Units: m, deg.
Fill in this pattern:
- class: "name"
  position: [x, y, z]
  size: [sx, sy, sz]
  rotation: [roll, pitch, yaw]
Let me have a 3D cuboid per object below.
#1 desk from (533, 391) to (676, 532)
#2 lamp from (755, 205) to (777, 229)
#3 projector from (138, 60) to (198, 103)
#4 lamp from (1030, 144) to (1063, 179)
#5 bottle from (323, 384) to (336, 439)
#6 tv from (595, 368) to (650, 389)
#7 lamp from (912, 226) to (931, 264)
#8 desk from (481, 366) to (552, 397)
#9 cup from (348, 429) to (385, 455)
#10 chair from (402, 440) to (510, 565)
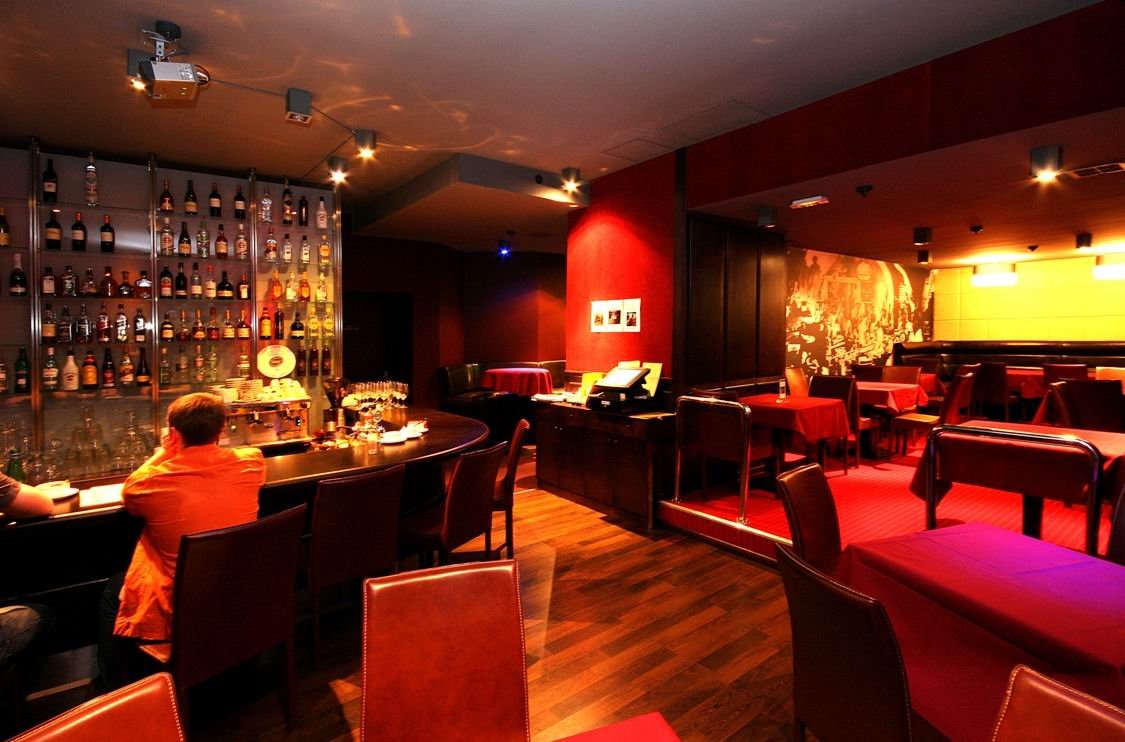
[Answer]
- class: "desk"
  position: [0.418, 0.888, 7.688]
  size: [0.584, 1.033, 1.678]
  rotation: [0, 5, -40]
- class: "lamp"
  position: [2.016, -1.509, 7.373]
  size: [0.176, 0.161, 0.168]
  rotation: [4, 11, 17]
- class: "projector"
  position: [-2.778, -2.049, 5.339]
  size: [0.479, 0.310, 0.266]
  rotation: [0, 8, -1]
- class: "lamp"
  position: [3.750, -1.636, 5.807]
  size: [0.114, 0.204, 0.151]
  rotation: [-1, -11, 10]
- class: "bottle"
  position: [-1.916, 0.319, 6.241]
  size: [0.115, 0.424, 0.285]
  rotation: [-2, 4, -16]
- class: "tv"
  position: [0.556, 0.087, 7.319]
  size: [0.462, 0.196, 0.380]
  rotation: [1, 4, 29]
- class: "lamp"
  position: [4.450, -1.569, 9.278]
  size: [0.157, 0.276, 0.153]
  rotation: [0, -10, 18]
- class: "desk"
  position: [-0.598, 0.167, 10.236]
  size: [0.830, 0.345, 0.610]
  rotation: [-2, 4, -18]
- class: "cup"
  position: [-1.509, 0.561, 5.735]
  size: [0.198, 0.189, 0.353]
  rotation: [-4, 24, -20]
- class: "chair"
  position: [-0.778, 0.999, 5.490]
  size: [0.731, 0.877, 0.399]
  rotation: [-1, 4, -5]
